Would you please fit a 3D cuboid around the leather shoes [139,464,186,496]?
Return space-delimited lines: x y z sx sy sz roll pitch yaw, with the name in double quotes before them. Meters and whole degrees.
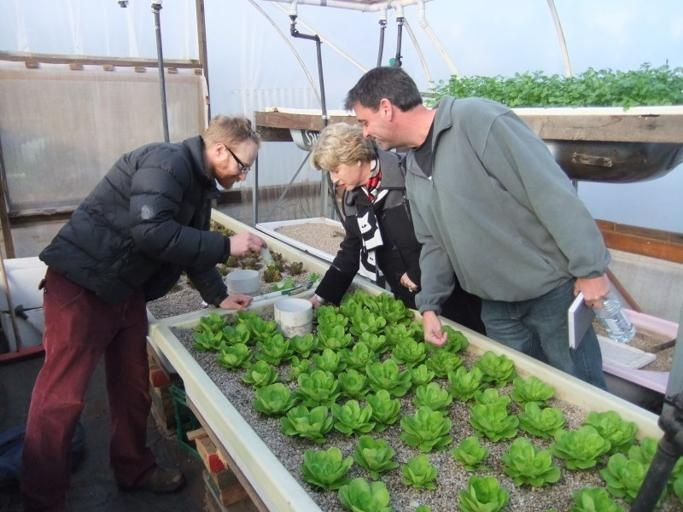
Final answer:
"leather shoes" -1.040 1.311 2.714 0.273 0.118 0.119 -8 25 -13

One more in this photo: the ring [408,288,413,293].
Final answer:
"ring" 0.398 0.195 2.652 0.021 0.028 0.044 -3 -23 9

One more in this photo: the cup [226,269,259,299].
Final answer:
"cup" -0.611 0.153 2.870 0.166 0.107 0.168 1 13 0

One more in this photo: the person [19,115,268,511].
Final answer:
"person" -1.040 0.380 2.380 1.258 2.082 0.531 -9 19 -24

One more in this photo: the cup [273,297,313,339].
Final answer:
"cup" -0.254 0.331 2.426 0.207 0.151 0.198 1 9 0

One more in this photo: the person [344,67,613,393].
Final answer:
"person" 0.660 -0.105 2.105 1.178 1.452 0.372 2 17 11

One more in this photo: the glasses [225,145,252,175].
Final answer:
"glasses" -0.524 -0.477 2.314 0.035 0.116 0.111 -35 -15 12
